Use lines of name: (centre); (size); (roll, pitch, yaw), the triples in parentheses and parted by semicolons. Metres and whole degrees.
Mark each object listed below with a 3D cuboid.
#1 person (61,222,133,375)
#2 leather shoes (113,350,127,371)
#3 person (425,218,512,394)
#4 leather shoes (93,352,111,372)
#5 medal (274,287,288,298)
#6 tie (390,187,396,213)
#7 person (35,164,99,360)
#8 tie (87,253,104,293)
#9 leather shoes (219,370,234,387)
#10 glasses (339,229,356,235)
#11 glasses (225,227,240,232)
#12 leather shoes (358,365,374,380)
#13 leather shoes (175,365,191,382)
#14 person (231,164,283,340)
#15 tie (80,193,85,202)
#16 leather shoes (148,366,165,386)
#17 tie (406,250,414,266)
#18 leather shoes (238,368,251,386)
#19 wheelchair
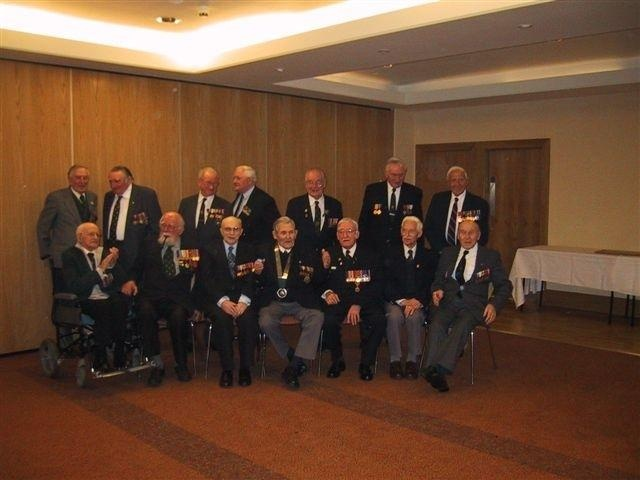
person: (-1.947, 0.554, 4.770); (0.478, 1.377, 0.618); (-6, 9, -38)
leather shoes: (-1.785, 1.067, 4.795); (0.116, 0.191, 0.185); (3, -10, -41)
person: (1.296, 0.563, 4.737); (0.693, 1.413, 0.820); (2, 8, 20)
leather shoes: (-1.942, 1.079, 4.769); (0.104, 0.245, 0.162); (1, 10, -9)
medal: (-0.352, 0.490, 5.055); (0.086, 0.092, 0.029); (14, 4, 2)
tie: (0.796, -0.423, 5.832); (0.089, 0.275, 0.057); (2, 8, 15)
person: (-2.592, 0.171, 5.734); (0.531, 1.943, 0.623); (15, 17, 37)
tie: (-2.035, 0.278, 4.859); (0.194, 0.289, 0.108); (-7, -15, -12)
leather shoes: (-0.826, 1.209, 4.733); (0.117, 0.136, 0.132); (-2, 8, -11)
glasses: (0.262, -0.080, 5.055); (0.130, 0.044, 0.030); (-1, 7, -8)
glasses: (-0.802, -0.093, 4.924); (0.119, 0.047, 0.026); (-2, 7, -12)
leather shoes: (0.422, 1.204, 4.923); (0.142, 0.116, 0.146); (1, 8, 13)
leather shoes: (-1.239, 1.196, 4.885); (0.149, 0.128, 0.181); (-2, 8, -15)
person: (-0.787, -0.086, 5.761); (0.570, 1.333, 0.422); (9, 8, 13)
tie: (-2.495, -0.441, 5.634); (0.067, 0.092, 0.020); (1, 1, -31)
leather shoes: (-1.446, 1.197, 4.766); (0.155, 0.141, 0.149); (-4, 8, -26)
tie: (0.869, 0.174, 5.187); (0.092, 0.142, 0.033); (3, -4, 3)
leather shoes: (-0.669, 1.208, 4.785); (0.077, 0.066, 0.155); (-3, 22, -10)
wheelchair: (-2.080, 0.666, 4.976); (0.840, 1.222, 0.776); (4, 4, 36)
